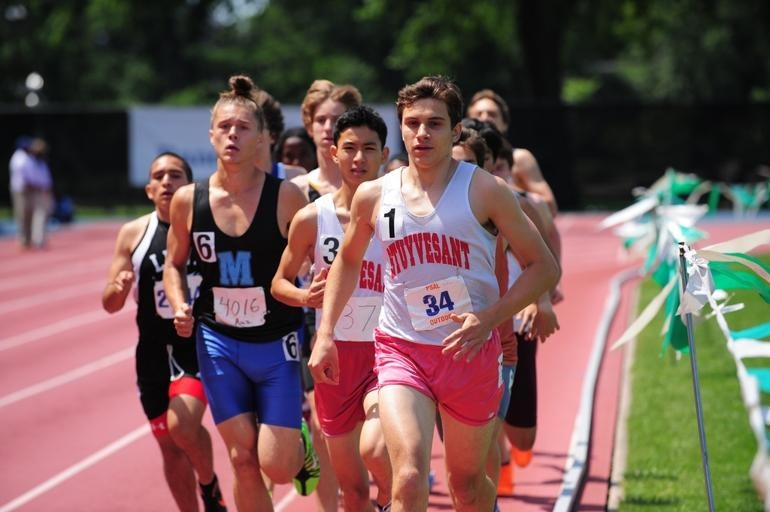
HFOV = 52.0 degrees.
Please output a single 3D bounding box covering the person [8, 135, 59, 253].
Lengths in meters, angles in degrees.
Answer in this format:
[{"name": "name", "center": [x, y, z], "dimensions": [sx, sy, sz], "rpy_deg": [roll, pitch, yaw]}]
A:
[{"name": "person", "center": [-8.797, -1.520, 19.707], "dimensions": [0.909, 2.693, 1.438], "rpy_deg": [-6, 9, -24]}]
